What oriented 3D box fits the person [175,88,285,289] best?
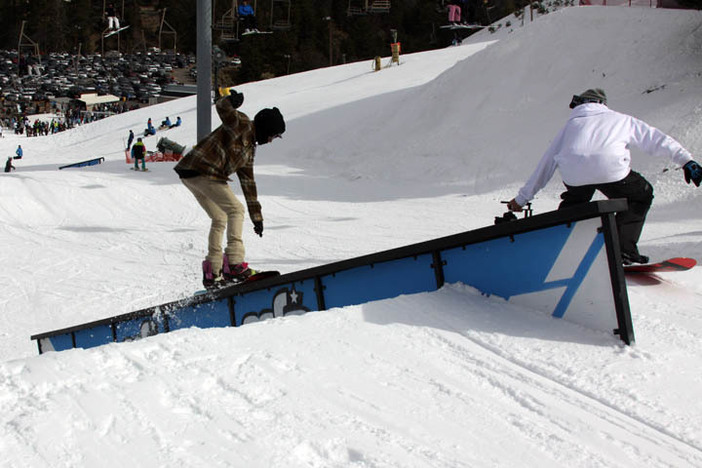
[{"bbox_3d":[-1.438,-0.480,9.144,1.226,2.387,0.704,-7,14,-15],"label":"person"}]

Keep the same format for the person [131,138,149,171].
[{"bbox_3d":[-6.492,-2.383,23.401,0.391,1.022,1.035,-7,14,-15],"label":"person"}]

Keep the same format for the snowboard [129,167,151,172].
[{"bbox_3d":[-6.512,-1.946,23.621,0.908,0.150,0.072,7,-15,34],"label":"snowboard"}]

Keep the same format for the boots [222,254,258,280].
[{"bbox_3d":[-1.394,0.404,9.419,0.487,0.342,0.186,-4,14,-6],"label":"boots"}]

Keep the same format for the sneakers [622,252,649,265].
[{"bbox_3d":[3.481,0.316,9.359,0.267,0.106,0.202,-4,4,-36],"label":"sneakers"}]

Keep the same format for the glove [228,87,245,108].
[{"bbox_3d":[-1.319,-1.559,8.771,0.174,0.249,0.076,9,-15,-17],"label":"glove"}]

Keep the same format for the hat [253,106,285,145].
[{"bbox_3d":[-0.976,-1.261,9.016,0.344,0.401,0.281,-8,14,-15],"label":"hat"}]
